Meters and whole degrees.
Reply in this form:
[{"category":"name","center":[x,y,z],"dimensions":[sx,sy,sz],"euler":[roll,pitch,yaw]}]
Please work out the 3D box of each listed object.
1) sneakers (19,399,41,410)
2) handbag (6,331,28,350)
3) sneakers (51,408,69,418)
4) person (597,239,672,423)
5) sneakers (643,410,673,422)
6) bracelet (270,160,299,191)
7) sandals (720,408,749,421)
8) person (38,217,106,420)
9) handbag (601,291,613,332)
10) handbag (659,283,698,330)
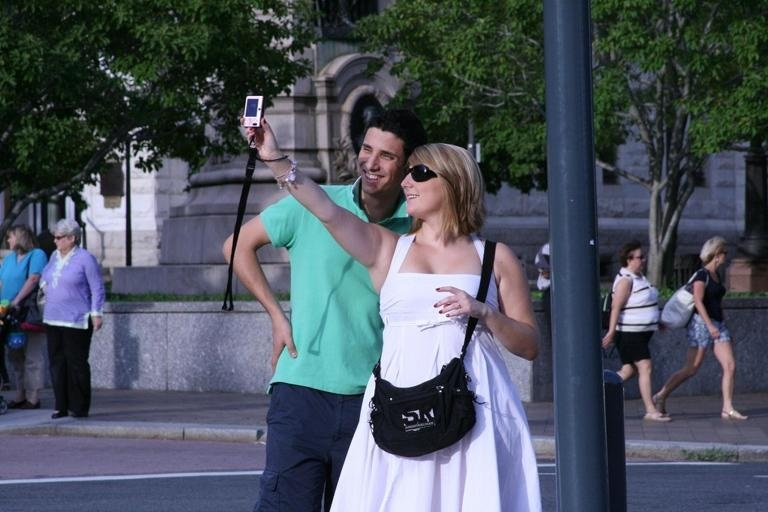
[{"category":"sneakers","center":[-5.576,2.357,23.805],"dimensions":[0.118,0.093,0.302],"euler":[-5,-12,37]},{"category":"handbag","center":[-5.760,1.344,23.728],"dimensions":[0.284,0.411,0.244],"euler":[1,-4,-11]},{"category":"sneakers","center":[-4.929,2.411,22.993],"dimensions":[0.215,0.141,0.113],"euler":[9,-4,-1]},{"category":"person","center":[3.860,1.171,23.320],"dimensions":[0.920,2.751,0.782],"euler":[-2,3,9]},{"category":"sneakers","center":[4.208,2.468,23.150],"dimensions":[0.345,0.144,0.156],"euler":[-4,-6,16]},{"category":"bracelet","center":[-1.052,-0.848,16.208],"dimensions":[0.099,0.268,0.277],"euler":[24,-43,-8]},{"category":"sandals","center":[5.427,2.469,23.392],"dimensions":[0.401,0.166,0.164],"euler":[-1,1,1]},{"category":"person","center":[-4.743,0.977,23.062],"dimensions":[0.967,2.999,0.592],"euler":[-3,3,-7]},{"category":"handbag","center":[3.351,0.870,22.748],"dimensions":[0.254,0.391,0.501],"euler":[-7,39,8]},{"category":"handbag","center":[4.640,0.792,23.649],"dimensions":[0.418,0.823,0.608],"euler":[16,29,16]}]
